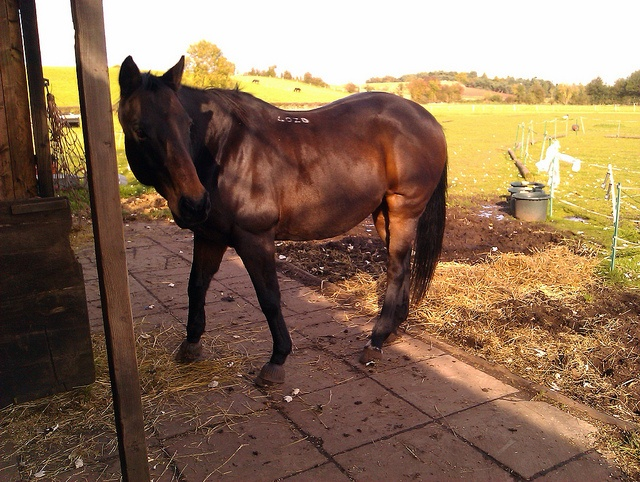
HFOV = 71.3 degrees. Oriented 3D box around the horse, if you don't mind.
[{"bbox_3d":[-0.391,-0.127,4.258,4.225,2.445,1.031,-6,12,-34],"label":"horse"}]
